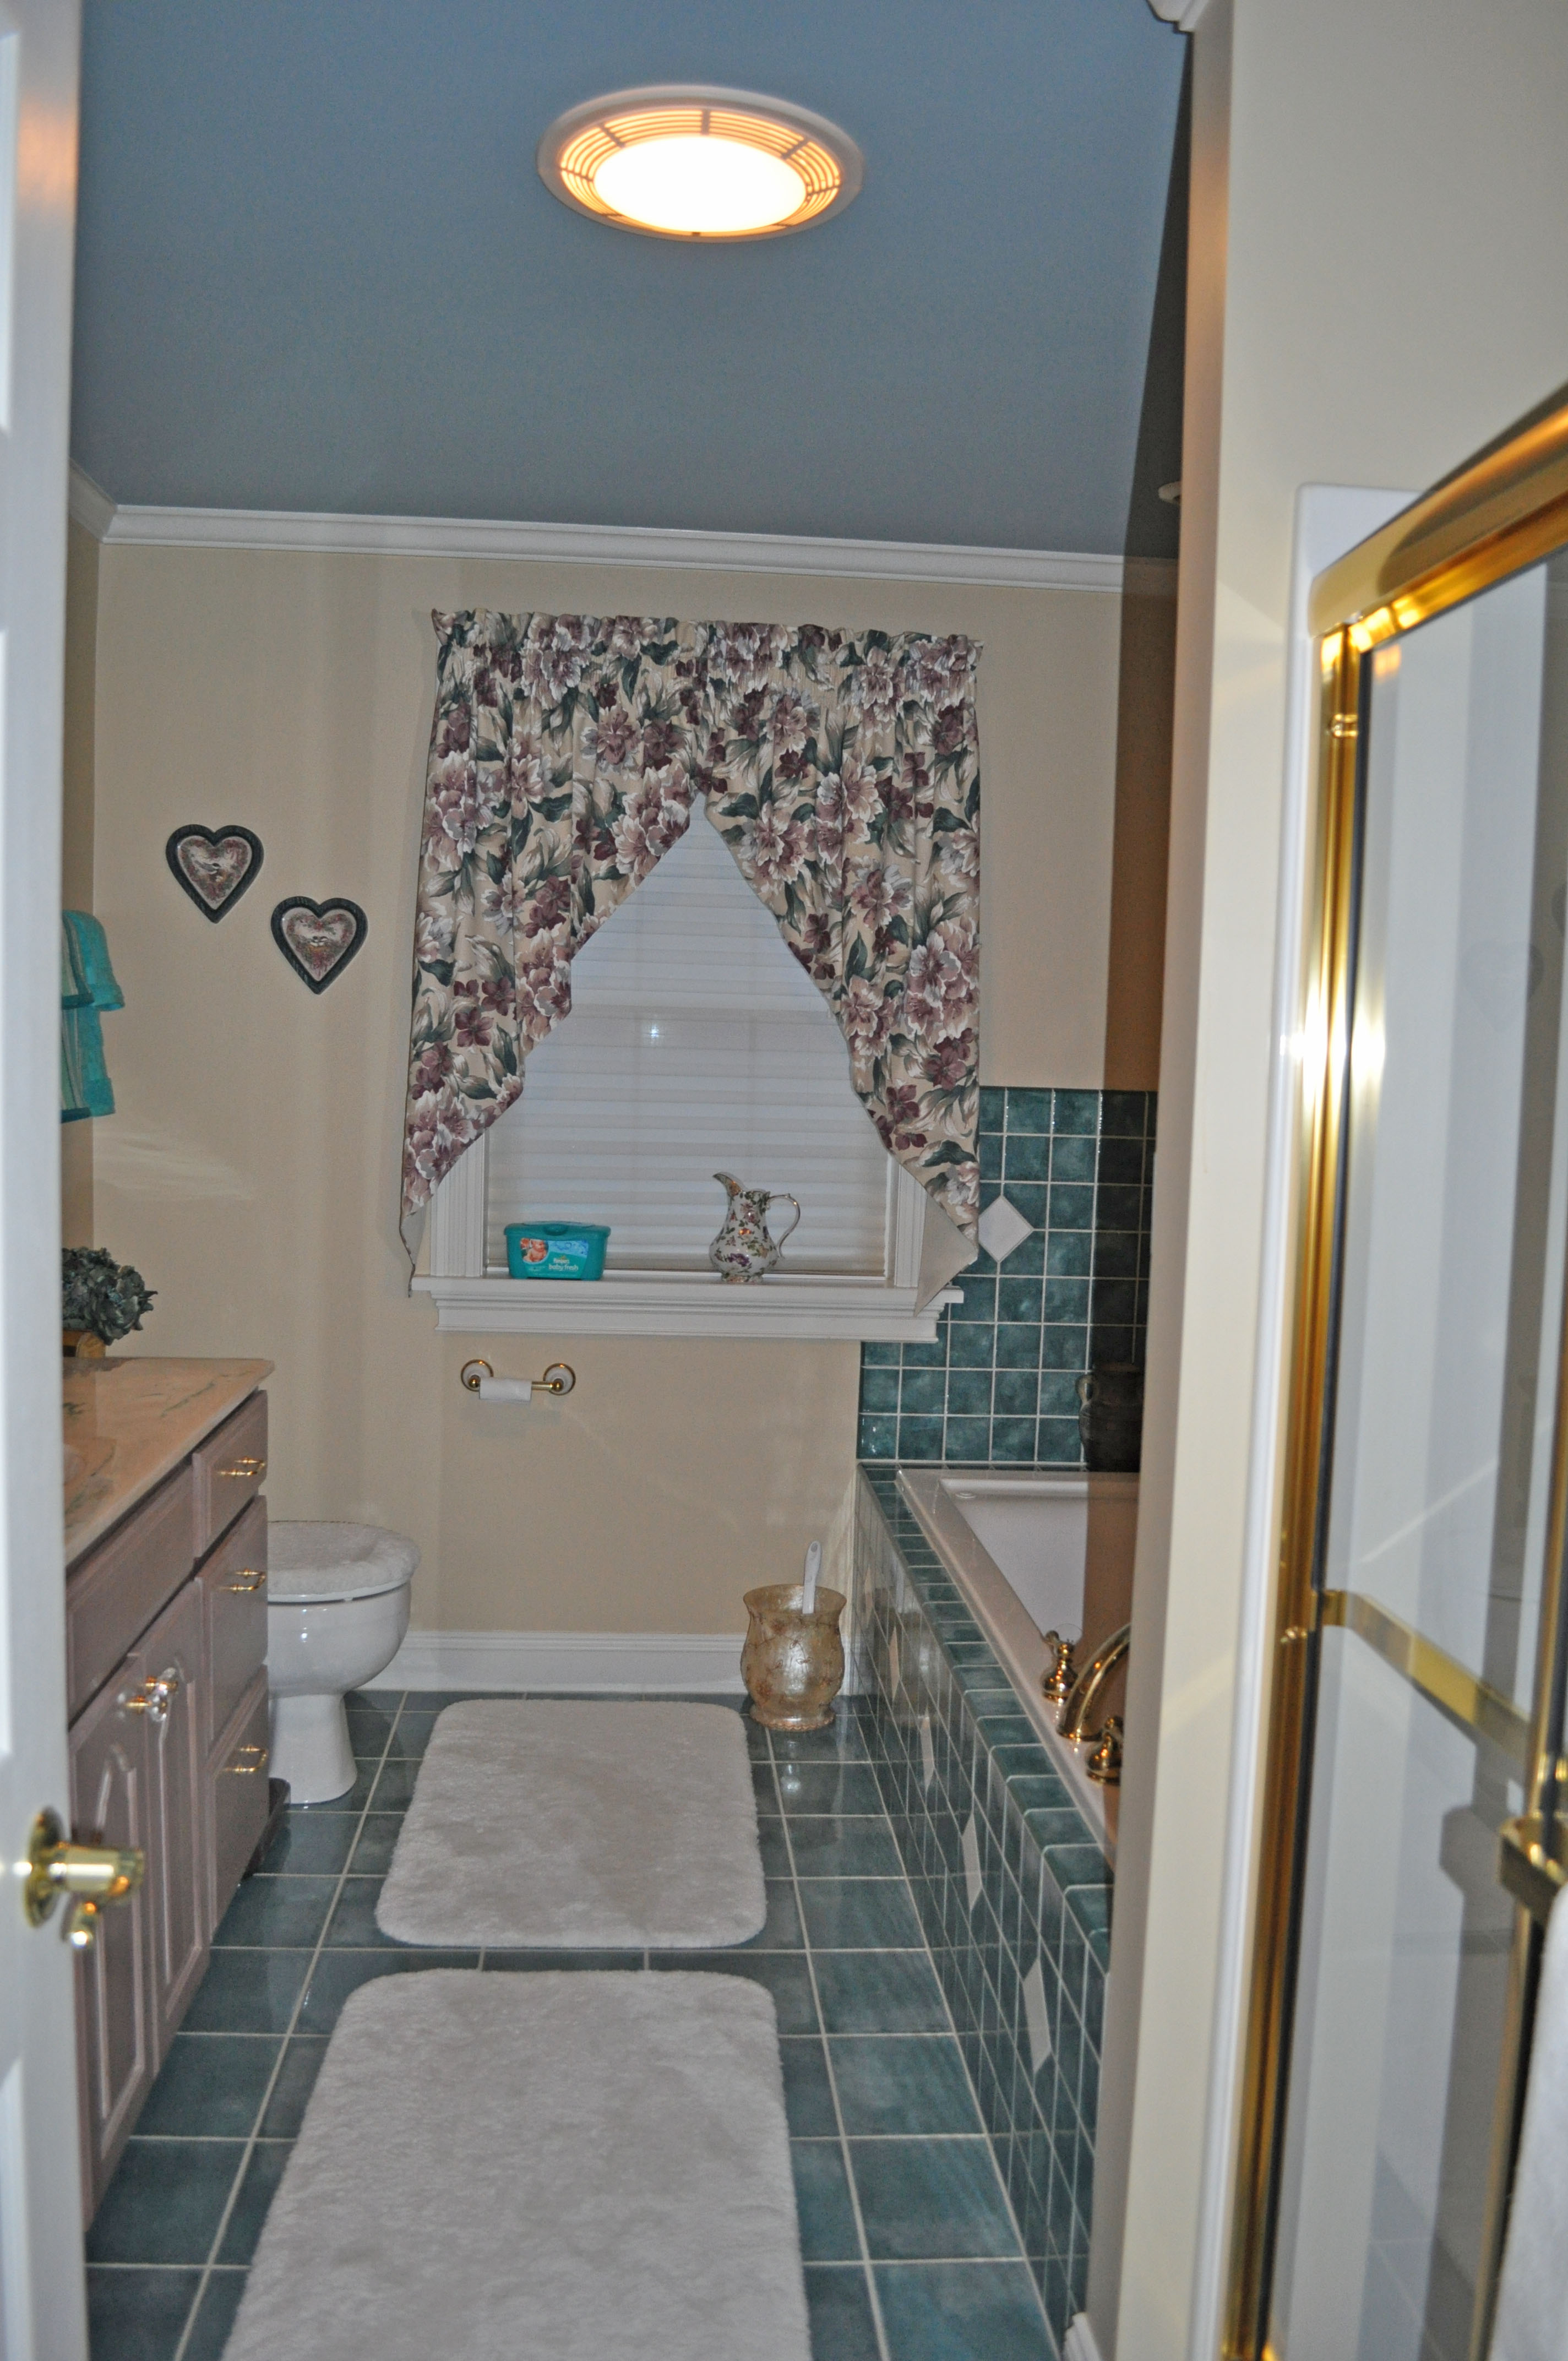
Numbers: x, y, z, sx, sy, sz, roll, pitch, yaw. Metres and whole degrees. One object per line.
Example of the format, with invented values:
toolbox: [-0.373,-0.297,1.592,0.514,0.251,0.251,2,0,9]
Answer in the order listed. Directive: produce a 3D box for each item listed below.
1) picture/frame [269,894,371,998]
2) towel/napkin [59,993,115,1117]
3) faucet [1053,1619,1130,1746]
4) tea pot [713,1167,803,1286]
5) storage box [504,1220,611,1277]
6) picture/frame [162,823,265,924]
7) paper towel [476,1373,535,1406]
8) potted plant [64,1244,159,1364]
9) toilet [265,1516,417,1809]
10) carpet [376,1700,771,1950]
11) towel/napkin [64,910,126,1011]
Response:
picture/frame: [-0.907,-0.463,3.459,0.182,0.220,0.028,-1,3,-15]
towel/napkin: [-1.139,-0.192,2.908,0.063,0.190,0.183,-2,7,-20]
faucet: [0.364,0.581,2.113,0.075,0.193,0.261,1,6,9]
tea pot: [-0.058,0.090,3.617,0.211,0.260,0.127,1,3,-16]
storage box: [-0.454,0.138,3.586,0.142,0.092,0.109,0,1,-3]
picture/frame: [-1.103,-0.596,3.422,0.173,0.210,0.027,-2,7,-16]
paper towel: [-0.548,0.425,3.525,0.108,0.069,0.100,0,6,-8]
potted plant: [-0.993,0.176,2.636,0.137,0.163,0.148,6,5,2]
toilet: [-0.732,0.826,3.068,0.332,0.375,0.384,0,2,-9]
carpet: [-0.338,1.075,3.028,0.589,0.068,0.950,0,7,-5]
towel/napkin: [-1.143,-0.355,2.884,0.052,0.154,0.147,0,7,11]
